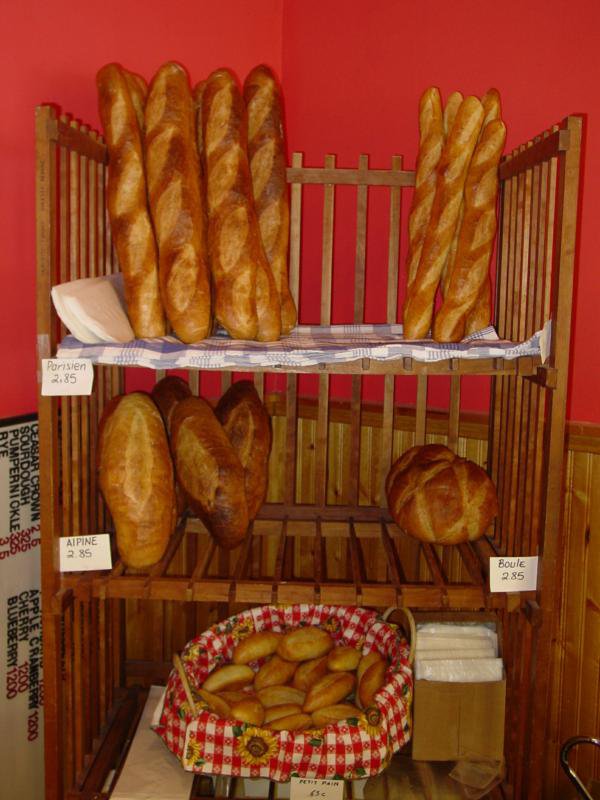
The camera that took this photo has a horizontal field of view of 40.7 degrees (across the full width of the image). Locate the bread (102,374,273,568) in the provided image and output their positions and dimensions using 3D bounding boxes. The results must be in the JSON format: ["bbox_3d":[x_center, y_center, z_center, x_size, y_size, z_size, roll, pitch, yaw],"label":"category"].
[{"bbox_3d":[-0.173,0.109,1.376,0.243,0.327,0.099,-12,-13,35],"label":"bread"}]

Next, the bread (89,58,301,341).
[{"bbox_3d":[-0.174,-0.313,1.306,0.285,0.543,0.133,-1,-10,-14],"label":"bread"}]

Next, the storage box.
[{"bbox_3d":[0.252,0.514,1.339,0.121,0.109,0.133,-1,-2,10],"label":"storage box"}]

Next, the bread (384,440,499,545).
[{"bbox_3d":[0.219,0.165,1.437,0.145,0.179,0.250,5,-10,-30],"label":"bread"}]
